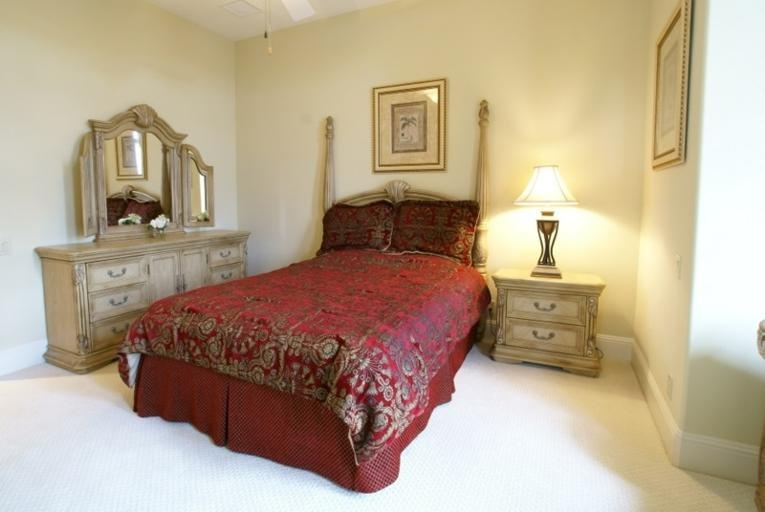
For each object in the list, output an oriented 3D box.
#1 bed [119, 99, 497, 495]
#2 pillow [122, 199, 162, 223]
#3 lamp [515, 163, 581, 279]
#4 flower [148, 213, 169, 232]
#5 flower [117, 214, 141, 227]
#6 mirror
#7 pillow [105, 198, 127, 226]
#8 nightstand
[{"bbox_3d":[-0.191,-0.002,4.597,2.315,2.318,3.190,6,11,29],"label":"bed"},{"bbox_3d":[-2.345,-0.449,5.074,0.063,0.214,0.222,5,-1,38],"label":"pillow"},{"bbox_3d":[1.429,-0.327,4.562,0.495,0.962,0.441,4,8,19],"label":"lamp"},{"bbox_3d":[-2.207,-0.344,5.147,0.166,0.159,0.179,-3,11,-7],"label":"flower"},{"bbox_3d":[-2.425,-0.354,4.980,0.116,0.067,0.116,-4,7,4],"label":"flower"},{"bbox_3d":[-2.355,-0.831,5.045,0.230,1.202,1.365,5,8,26],"label":"mirror"},{"bbox_3d":[-2.497,-0.424,4.848,0.092,0.212,0.205,4,-1,17],"label":"pillow"},{"bbox_3d":[1.453,0.489,4.715,1.221,1.063,0.756,2,5,21],"label":"nightstand"}]
